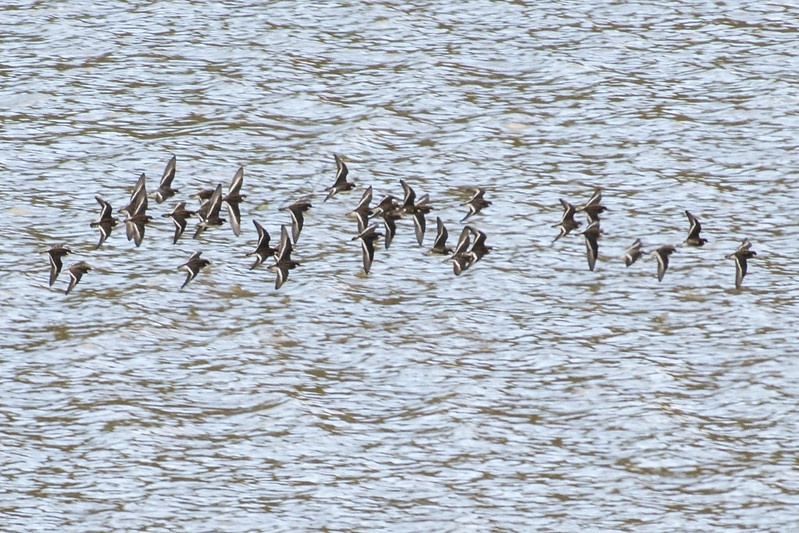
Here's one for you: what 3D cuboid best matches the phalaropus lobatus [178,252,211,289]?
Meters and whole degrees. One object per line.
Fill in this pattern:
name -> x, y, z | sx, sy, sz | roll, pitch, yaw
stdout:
phalaropus lobatus -> -2.657, 0.075, 17.897 | 0.650, 0.197, 0.563 | -13, 40, 8
